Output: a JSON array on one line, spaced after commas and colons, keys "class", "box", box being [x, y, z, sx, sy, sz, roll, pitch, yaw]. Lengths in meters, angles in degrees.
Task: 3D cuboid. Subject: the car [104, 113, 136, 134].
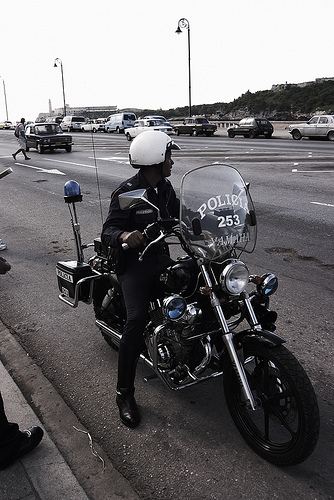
[{"class": "car", "box": [-6.807, -18.412, 50.096, 2.949, 2.543, 5.105, -16, 26, -32]}]

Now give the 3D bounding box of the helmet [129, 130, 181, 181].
[{"class": "helmet", "box": [-0.075, -0.670, 2.409, 0.365, 0.344, 0.288, -7, 18, -16]}]

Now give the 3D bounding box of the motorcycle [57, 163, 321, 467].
[{"class": "motorcycle", "box": [-0.057, 0.208, 2.344, 0.954, 1.424, 2.338, -5, 17, -40]}]
